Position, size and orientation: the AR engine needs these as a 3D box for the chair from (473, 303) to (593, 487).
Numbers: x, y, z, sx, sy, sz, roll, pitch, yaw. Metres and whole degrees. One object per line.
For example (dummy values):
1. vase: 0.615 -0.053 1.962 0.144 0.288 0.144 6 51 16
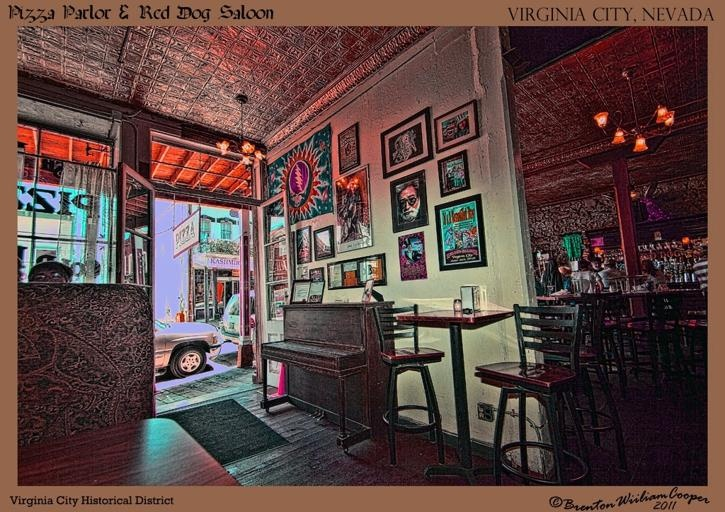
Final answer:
1. chair: 1.672 1.335 4.381 0.874 1.737 1.264 -4 -6 24

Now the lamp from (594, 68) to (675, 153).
1. lamp: 4.780 -2.456 7.858 1.299 1.533 1.290 -2 4 24
